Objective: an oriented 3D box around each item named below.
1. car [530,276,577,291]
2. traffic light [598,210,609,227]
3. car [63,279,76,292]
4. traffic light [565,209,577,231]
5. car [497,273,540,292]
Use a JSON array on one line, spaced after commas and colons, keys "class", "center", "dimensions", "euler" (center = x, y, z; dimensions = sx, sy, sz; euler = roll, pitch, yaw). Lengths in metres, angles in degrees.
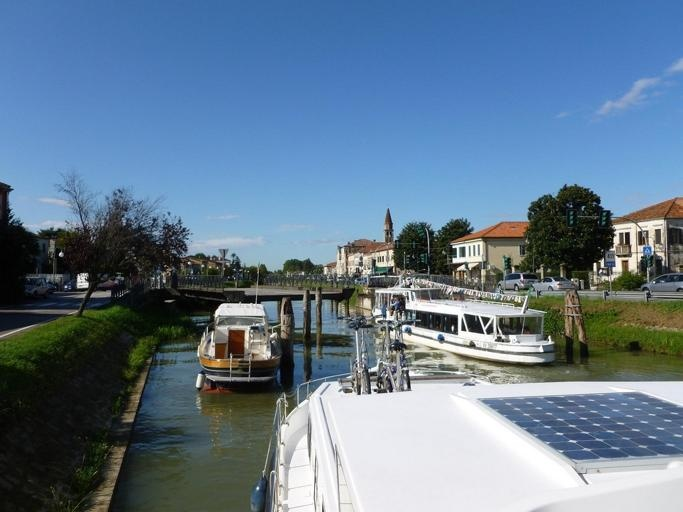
[{"class": "car", "center": [16.362, 2.168, 40.811], "dimensions": [1.207, 0.851, 2.713], "euler": [0, 2, -23]}, {"class": "traffic light", "center": [14.076, -2.004, 28.190], "dimensions": [0.484, 0.887, 1.354], "euler": [3, -1, 26]}, {"class": "car", "center": [-33.545, 3.673, 65.018], "dimensions": [1.129, 1.440, 4.152], "euler": [4, 0, -28]}, {"class": "traffic light", "center": [12.379, -2.117, 28.308], "dimensions": [0.385, 1.051, 0.577], "euler": [3, 0, 13]}, {"class": "car", "center": [14.692, 2.216, 43.701], "dimensions": [1.408, 1.111, 2.530], "euler": [-1, 2, -19]}]
